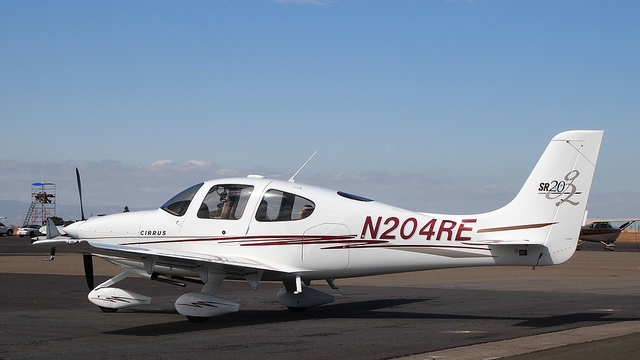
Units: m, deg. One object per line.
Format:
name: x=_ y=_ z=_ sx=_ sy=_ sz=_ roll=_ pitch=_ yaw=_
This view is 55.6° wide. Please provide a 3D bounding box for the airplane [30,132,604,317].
airplane: x=-0.070 y=1.624 z=16.487 sx=11.023 sy=1.985 sz=9.657 roll=1 pitch=-2 yaw=17
